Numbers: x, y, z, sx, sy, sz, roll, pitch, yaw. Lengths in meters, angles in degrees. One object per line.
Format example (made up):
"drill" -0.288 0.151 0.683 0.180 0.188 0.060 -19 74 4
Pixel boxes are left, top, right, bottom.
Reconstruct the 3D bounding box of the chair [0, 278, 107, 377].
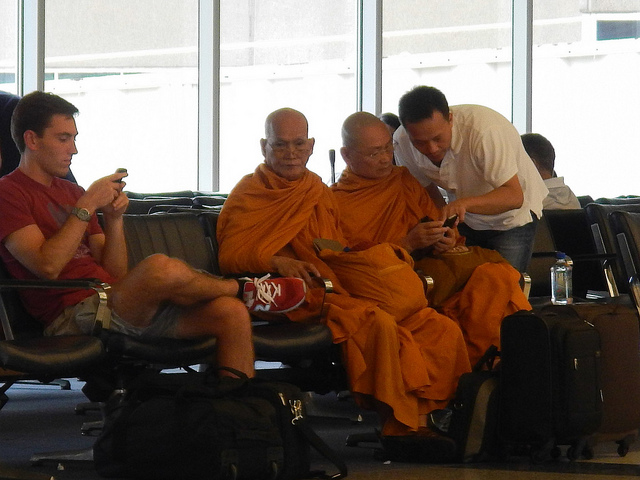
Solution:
"chair" -1.039 0.329 2.392 0.406 0.356 0.614 1 -5 -20

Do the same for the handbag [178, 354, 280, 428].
"handbag" -0.324 0.479 2.110 0.322 0.120 0.213 7 -1 23

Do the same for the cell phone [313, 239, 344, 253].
"cell phone" 0.036 0.022 3.027 0.080 0.020 0.082 22 6 21

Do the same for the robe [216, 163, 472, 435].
"robe" 0.057 0.208 2.964 1.102 1.274 0.650 -4 -6 40

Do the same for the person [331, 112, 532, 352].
"person" 0.499 -0.071 3.132 0.800 0.881 1.236 -13 27 -36

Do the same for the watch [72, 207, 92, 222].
"watch" -0.966 -0.110 2.523 0.025 0.059 0.057 -42 -13 -12

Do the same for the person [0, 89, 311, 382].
"person" -0.803 0.056 2.990 1.626 1.535 0.877 -3 -7 17
